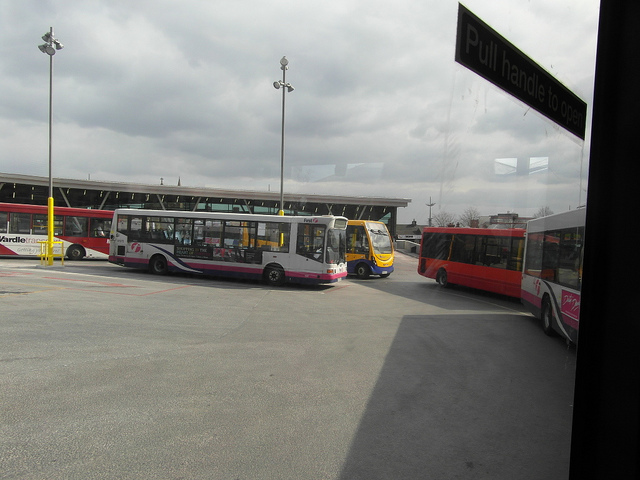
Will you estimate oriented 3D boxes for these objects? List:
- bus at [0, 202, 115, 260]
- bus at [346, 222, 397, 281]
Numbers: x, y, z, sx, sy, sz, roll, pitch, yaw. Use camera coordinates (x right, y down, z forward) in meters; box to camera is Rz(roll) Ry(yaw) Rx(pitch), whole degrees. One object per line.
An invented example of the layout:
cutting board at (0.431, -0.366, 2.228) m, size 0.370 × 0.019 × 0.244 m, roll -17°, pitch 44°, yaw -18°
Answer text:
bus at (-12.547, -0.399, 24.710) m, size 7.030 × 3.192 × 2.633 m, roll 2°, pitch 2°, yaw -27°
bus at (1.842, 0.519, 23.949) m, size 2.555 × 2.895 × 3.667 m, roll 2°, pitch -2°, yaw -45°
